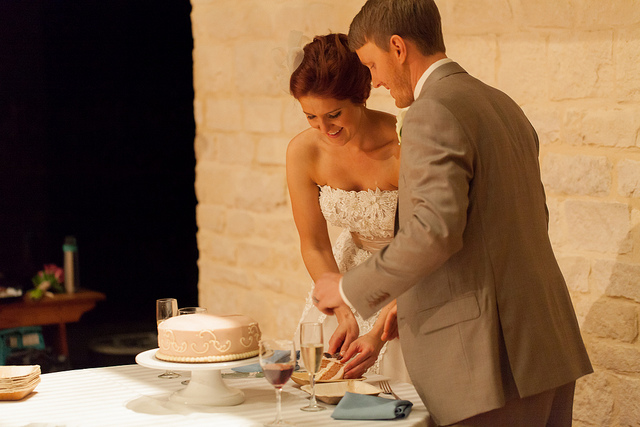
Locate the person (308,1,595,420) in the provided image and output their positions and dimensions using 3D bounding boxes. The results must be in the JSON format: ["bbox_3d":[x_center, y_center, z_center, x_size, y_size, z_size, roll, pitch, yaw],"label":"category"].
[{"bbox_3d":[0.599,-0.007,2.695,1.036,1.775,0.475,2,5,16],"label":"person"}]

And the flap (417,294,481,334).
[{"bbox_3d":[0.510,0.393,2.547,0.223,0.135,0.059,-12,-9,13],"label":"flap"}]

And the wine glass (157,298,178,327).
[{"bbox_3d":[-0.737,0.472,3.096,0.097,0.170,0.108,-4,-4,35],"label":"wine glass"}]

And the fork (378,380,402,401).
[{"bbox_3d":[0.315,0.787,2.862,0.026,0.023,0.194,-1,22,-17],"label":"fork"}]
